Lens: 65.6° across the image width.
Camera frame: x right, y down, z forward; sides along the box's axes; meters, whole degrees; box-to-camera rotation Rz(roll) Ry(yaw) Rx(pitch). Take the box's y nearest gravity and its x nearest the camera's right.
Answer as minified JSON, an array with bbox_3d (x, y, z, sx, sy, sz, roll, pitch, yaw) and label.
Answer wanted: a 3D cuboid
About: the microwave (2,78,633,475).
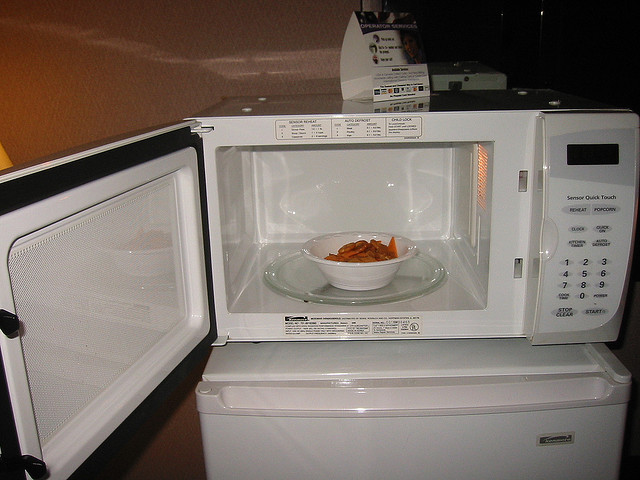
[{"bbox_3d":[-0.052,0.091,0.967,0.792,0.425,0.845,0,20,2],"label":"microwave"}]

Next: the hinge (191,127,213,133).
[{"bbox_3d":[-0.215,-0.202,0.912,0.042,0.013,0.015,-4,0,-12],"label":"hinge"}]

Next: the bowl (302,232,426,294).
[{"bbox_3d":[0.091,0.050,1.099,0.234,0.092,0.243,-2,14,1],"label":"bowl"}]
